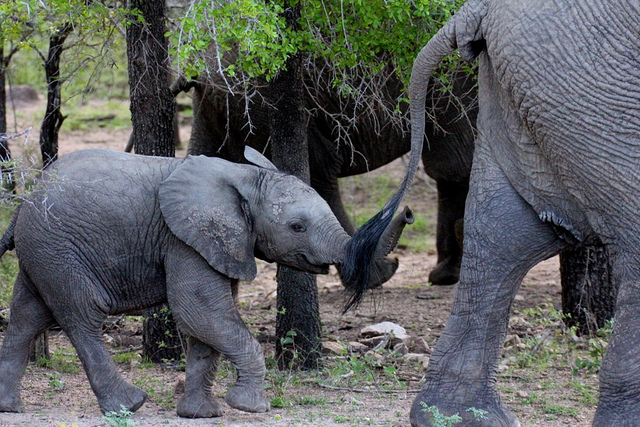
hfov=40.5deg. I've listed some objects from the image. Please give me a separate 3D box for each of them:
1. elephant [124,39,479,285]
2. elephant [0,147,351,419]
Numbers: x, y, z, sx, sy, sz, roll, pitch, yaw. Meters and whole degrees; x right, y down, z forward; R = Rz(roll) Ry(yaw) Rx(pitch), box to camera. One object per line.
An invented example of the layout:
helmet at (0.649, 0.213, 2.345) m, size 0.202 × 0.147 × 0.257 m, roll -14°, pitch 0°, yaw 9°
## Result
elephant at (0.144, -0.670, 8.881) m, size 4.043 × 2.304 × 1.902 m, roll -6°, pitch 14°, yaw -12°
elephant at (-1.248, 0.564, 6.568) m, size 2.521 × 2.020 × 0.806 m, roll 3°, pitch 8°, yaw 4°
